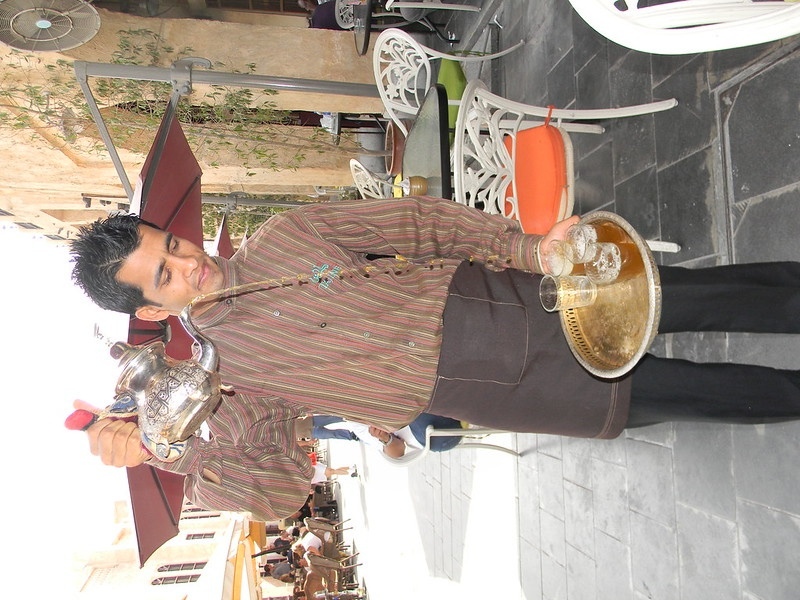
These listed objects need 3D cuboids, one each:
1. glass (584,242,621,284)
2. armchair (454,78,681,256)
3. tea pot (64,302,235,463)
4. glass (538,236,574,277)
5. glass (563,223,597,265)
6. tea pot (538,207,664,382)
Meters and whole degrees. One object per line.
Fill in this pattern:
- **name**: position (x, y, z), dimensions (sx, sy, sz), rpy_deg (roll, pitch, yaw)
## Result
- **glass**: position (0.662, -0.120, 2.239), dimensions (0.058, 0.125, 0.121), rpy_deg (1, 55, -31)
- **armchair**: position (0.769, -0.735, 3.733), dimensions (0.738, 0.575, 0.471), rpy_deg (8, 59, -32)
- **tea pot**: position (-0.921, 0.272, 2.499), dimensions (0.547, 0.348, 0.448), rpy_deg (-43, 95, -22)
- **glass**: position (0.569, -0.147, 2.428), dimensions (0.097, 0.121, 0.115), rpy_deg (6, 84, -35)
- **glass**: position (0.594, -0.187, 2.283), dimensions (0.098, 0.106, 0.122), rpy_deg (4, 90, -49)
- **tea pot**: position (0.674, -0.021, 2.238), dimensions (0.209, 0.512, 0.512), rpy_deg (-3, 97, -30)
